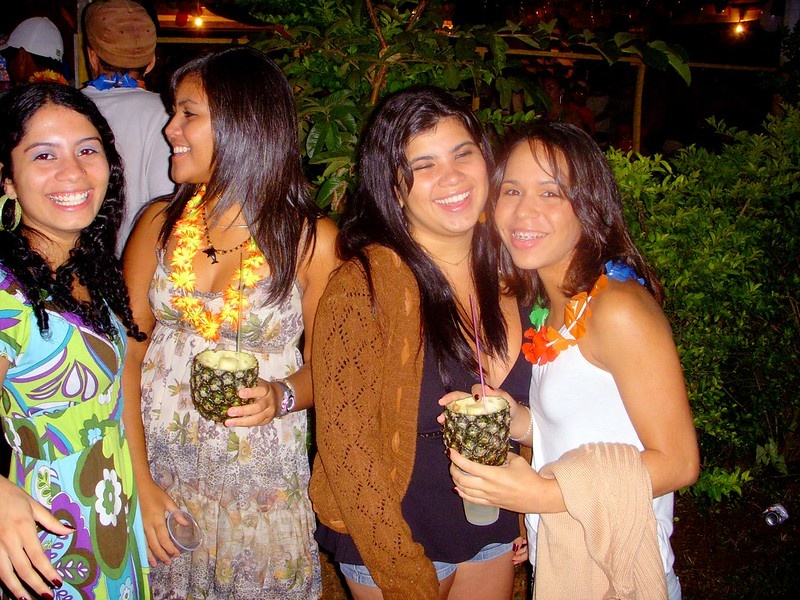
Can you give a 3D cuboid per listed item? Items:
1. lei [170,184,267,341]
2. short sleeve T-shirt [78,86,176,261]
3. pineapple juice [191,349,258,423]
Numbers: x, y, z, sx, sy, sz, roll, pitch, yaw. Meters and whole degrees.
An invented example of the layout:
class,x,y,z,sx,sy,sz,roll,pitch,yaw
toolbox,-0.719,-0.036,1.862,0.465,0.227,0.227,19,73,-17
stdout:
class,x,y,z,sx,sy,sz,roll,pitch,yaw
lei,-0.829,-0.128,2.756,0.441,0.644,0.155,-13,-11,-4
short sleeve T-shirt,-1.722,-0.943,3.943,0.552,0.956,0.235,-3,-1,25
pineapple juice,-0.692,0.308,2.380,0.277,0.284,0.286,4,0,-23
